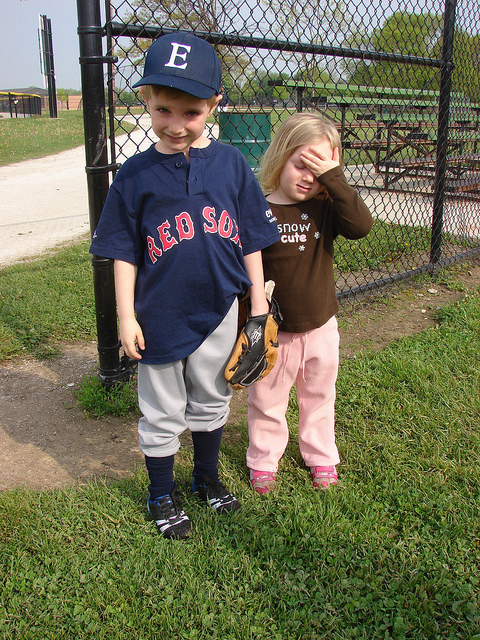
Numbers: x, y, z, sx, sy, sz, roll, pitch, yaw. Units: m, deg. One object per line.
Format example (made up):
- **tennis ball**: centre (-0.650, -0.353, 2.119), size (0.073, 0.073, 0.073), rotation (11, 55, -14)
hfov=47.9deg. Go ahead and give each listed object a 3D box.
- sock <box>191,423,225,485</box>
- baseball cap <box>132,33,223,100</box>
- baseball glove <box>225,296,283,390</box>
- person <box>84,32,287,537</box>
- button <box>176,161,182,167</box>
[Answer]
- **sock**: centre (-0.114, 0.474, 1.900), size (0.103, 0.237, 0.076), rotation (-1, 16, -5)
- **baseball cap**: centre (-0.161, -0.706, 1.496), size (0.250, 0.185, 0.199), rotation (-3, 17, -12)
- **baseball glove**: centre (0.041, 0.059, 1.778), size (0.316, 0.218, 0.205), rotation (-6, 25, -29)
- **person**: centre (-0.155, -0.087, 1.772), size (0.611, 1.527, 0.502), rotation (2, 16, 4)
- **button**: centre (-0.179, -0.459, 1.588), size (0.014, 0.013, 0.014), rotation (34, 8, 10)
